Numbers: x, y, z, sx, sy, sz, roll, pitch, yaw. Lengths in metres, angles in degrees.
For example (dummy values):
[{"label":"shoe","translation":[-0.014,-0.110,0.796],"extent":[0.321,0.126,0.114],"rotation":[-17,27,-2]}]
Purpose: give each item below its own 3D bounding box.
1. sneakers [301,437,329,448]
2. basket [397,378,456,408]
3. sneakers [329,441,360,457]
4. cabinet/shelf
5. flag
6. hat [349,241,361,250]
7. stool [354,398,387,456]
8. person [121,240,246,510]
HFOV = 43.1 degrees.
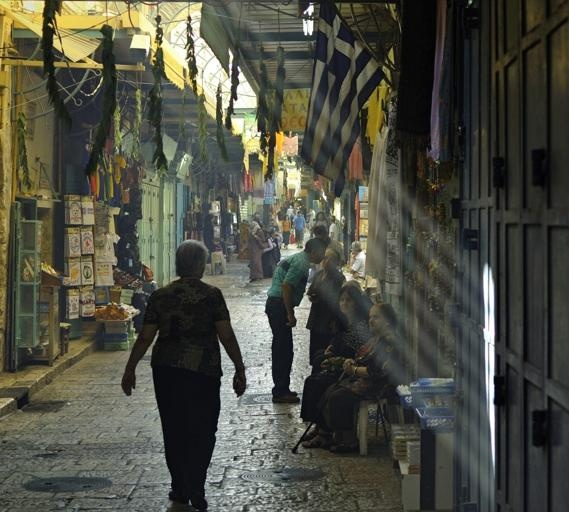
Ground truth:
[{"label":"sneakers","translation":[0.303,1.775,6.867],"extent":[0.174,0.104,0.118],"rotation":[5,-6,-2]},{"label":"basket","translation":[1.060,1.010,5.223],"extent":[0.260,0.159,0.228],"rotation":[0,-2,-1]},{"label":"sneakers","translation":[0.572,1.826,6.746],"extent":[0.189,0.109,0.123],"rotation":[10,-6,-17]},{"label":"cabinet/shelf","translation":[-3.462,1.017,10.516],"extent":[0.330,1.007,0.914],"rotation":[2,2,-10]},{"label":"flag","translation":[0.473,-1.411,6.187],"extent":[0.644,1.539,0.117],"rotation":[1,1,24]},{"label":"hat","translation":[1.409,-0.189,14.270],"extent":[0.103,0.193,0.162],"rotation":[5,-1,11]},{"label":"stool","translation":[0.830,1.659,6.869],"extent":[0.315,0.684,0.441],"rotation":[-1,-9,-4]},{"label":"person","translation":[-0.699,0.877,5.138],"extent":[0.835,1.950,0.390],"rotation":[0,1,-5]}]
